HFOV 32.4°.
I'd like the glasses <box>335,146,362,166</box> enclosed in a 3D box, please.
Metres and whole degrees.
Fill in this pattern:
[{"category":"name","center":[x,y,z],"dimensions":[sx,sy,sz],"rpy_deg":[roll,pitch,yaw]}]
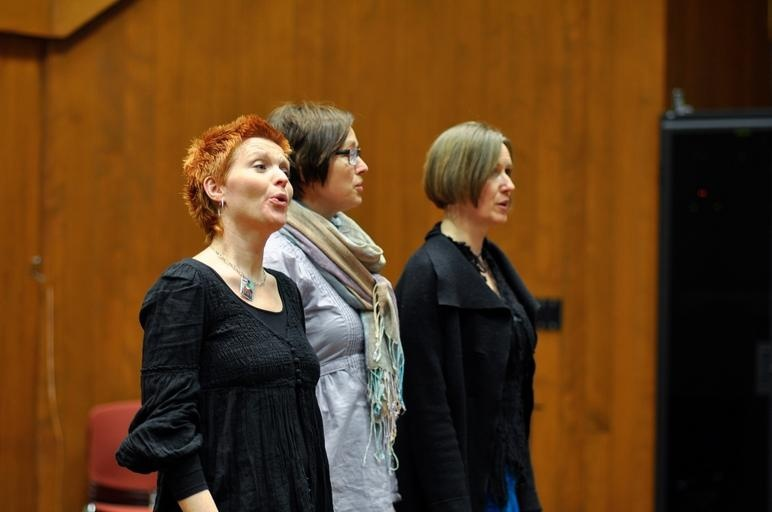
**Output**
[{"category":"glasses","center":[-0.191,-0.508,6.777],"dimensions":[0.096,0.042,0.099],"rpy_deg":[-11,-9,40]}]
